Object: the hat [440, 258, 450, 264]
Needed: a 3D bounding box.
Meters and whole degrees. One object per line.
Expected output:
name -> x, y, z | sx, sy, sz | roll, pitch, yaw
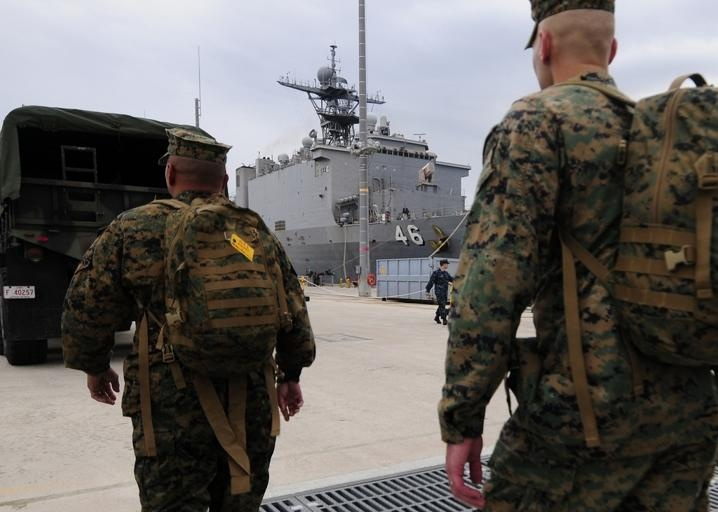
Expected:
hat -> 1.422, 0.085, 13.407 | 0.130, 0.067, 0.181 | 0, -2, 2
